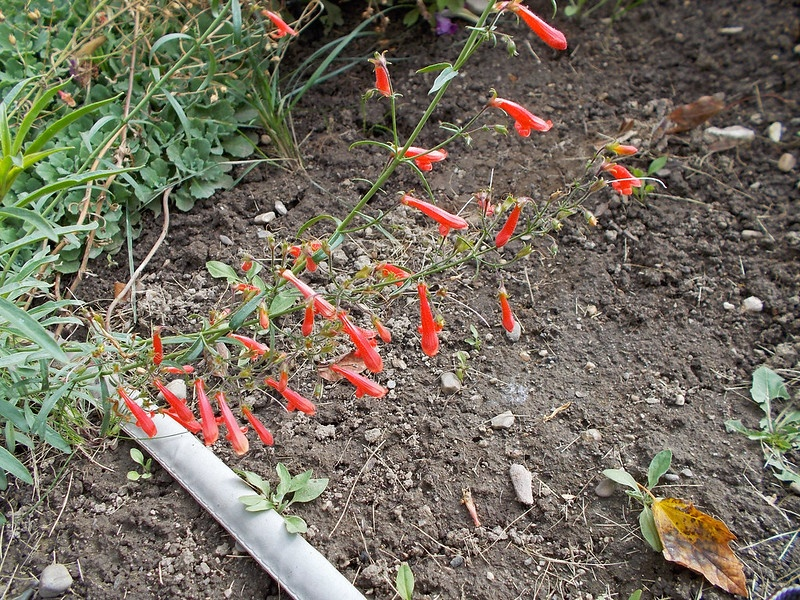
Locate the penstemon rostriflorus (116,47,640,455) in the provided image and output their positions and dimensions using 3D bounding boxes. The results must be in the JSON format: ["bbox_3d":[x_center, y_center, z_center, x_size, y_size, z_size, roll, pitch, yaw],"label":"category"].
[{"bbox_3d":[-0.142,-0.176,3.607,1.910,0.742,0.957,-33,44,-5],"label":"penstemon rostriflorus"}]
